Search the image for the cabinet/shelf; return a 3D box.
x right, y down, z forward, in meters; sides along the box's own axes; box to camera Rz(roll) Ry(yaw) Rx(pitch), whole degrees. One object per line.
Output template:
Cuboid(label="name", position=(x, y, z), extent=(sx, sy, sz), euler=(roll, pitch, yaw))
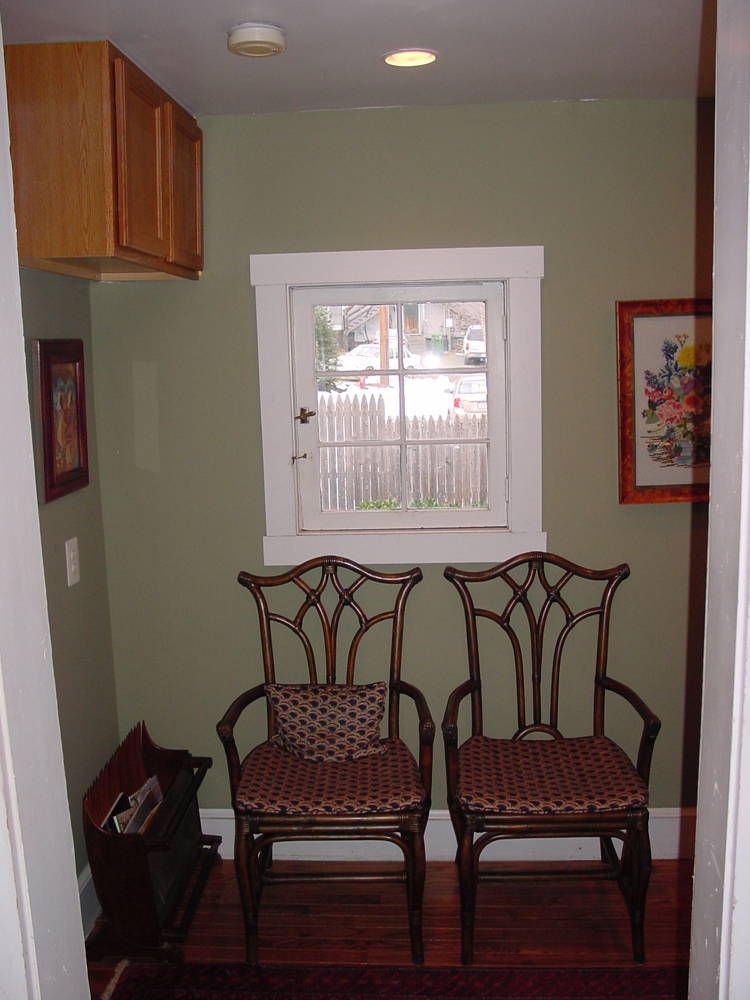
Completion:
Cuboid(label="cabinet/shelf", position=(-0.664, -0.801, 2.091), extent=(0.297, 0.470, 0.620), euler=(0, 7, 7))

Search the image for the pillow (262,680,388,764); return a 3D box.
Cuboid(label="pillow", position=(-0.133, 0.606, 2.345), extent=(0.416, 0.302, 0.172), euler=(0, -24, -3))

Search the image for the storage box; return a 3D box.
Cuboid(label="storage box", position=(-0.620, 0.952, 2.326), extent=(0.255, 0.449, 0.557), euler=(-2, 17, 2))

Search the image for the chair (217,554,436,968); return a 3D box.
Cuboid(label="chair", position=(-0.128, 0.681, 2.427), extent=(0.599, 1.008, 0.715), euler=(-2, 7, -6))
